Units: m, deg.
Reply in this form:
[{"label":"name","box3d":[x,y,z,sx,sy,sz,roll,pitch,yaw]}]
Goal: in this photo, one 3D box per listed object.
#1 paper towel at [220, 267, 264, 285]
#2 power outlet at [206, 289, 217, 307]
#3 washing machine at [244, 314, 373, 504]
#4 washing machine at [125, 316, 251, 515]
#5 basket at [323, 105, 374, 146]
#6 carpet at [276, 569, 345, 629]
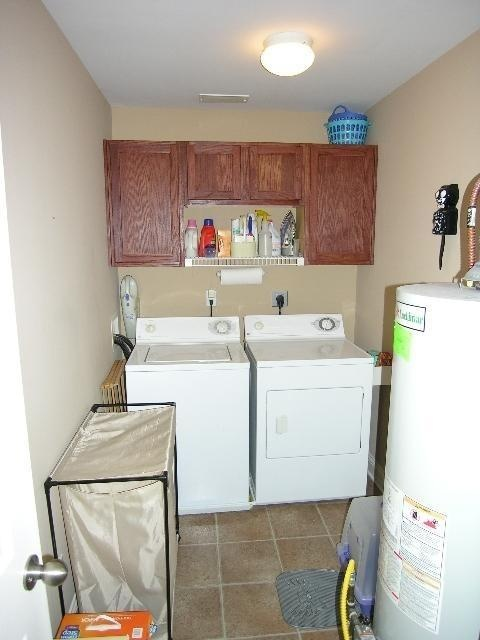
[{"label":"paper towel","box3d":[0.005,-0.266,2.911,0.259,0.103,0.096,-1,10,-9]},{"label":"power outlet","box3d":[-0.189,-0.140,3.092,0.078,0.166,0.076,-1,12,-8]},{"label":"washing machine","box3d":[0.386,0.489,2.768,0.699,0.941,0.685,-1,10,-6]},{"label":"washing machine","box3d":[-0.266,0.517,2.620,0.631,0.944,0.674,-1,10,-6]},{"label":"basket","box3d":[0.628,-1.079,2.713,0.223,0.226,0.220,0,12,2]},{"label":"carpet","box3d":[0.292,1.134,1.926,0.279,0.021,0.291,-1,11,-5]}]
